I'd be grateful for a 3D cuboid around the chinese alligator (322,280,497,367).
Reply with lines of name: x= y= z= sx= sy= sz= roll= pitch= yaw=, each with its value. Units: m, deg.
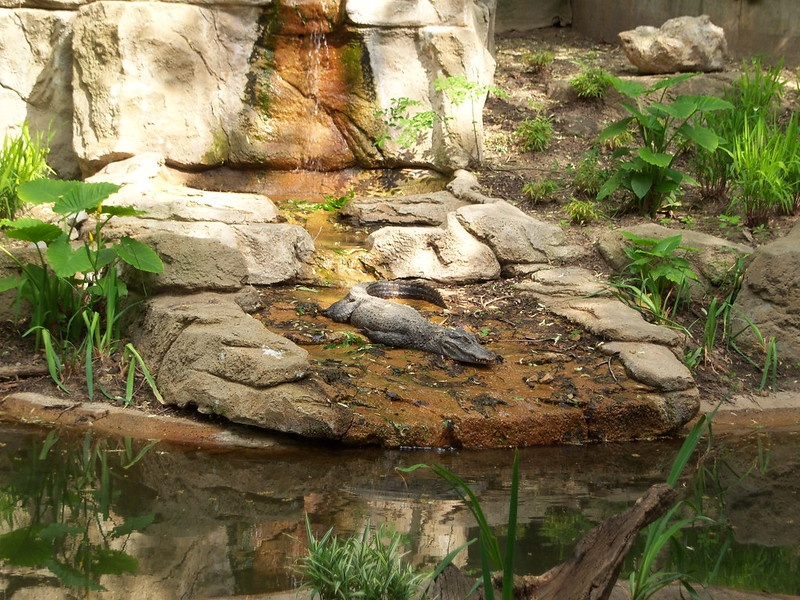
chinese alligator: x=0.023 y=0.271 z=11.607 sx=1.298 sy=0.224 sz=1.052 roll=20 pitch=13 yaw=41
